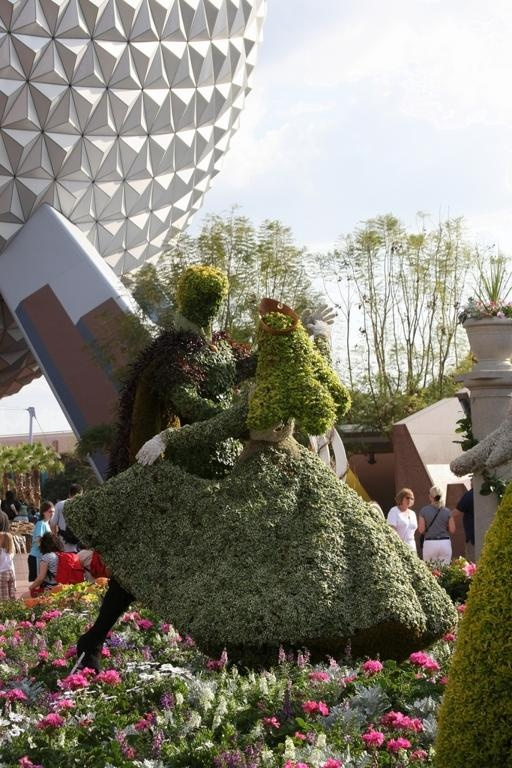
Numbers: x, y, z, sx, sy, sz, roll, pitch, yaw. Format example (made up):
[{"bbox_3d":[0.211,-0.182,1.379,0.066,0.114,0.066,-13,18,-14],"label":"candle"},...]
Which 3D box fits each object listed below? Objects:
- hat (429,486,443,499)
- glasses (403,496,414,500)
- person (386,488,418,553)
[{"bbox_3d":[1.641,1.005,7.204,0.103,0.110,0.123,6,24,4],"label":"hat"},{"bbox_3d":[1.392,1.028,7.118,0.075,0.036,0.087,1,-16,-6],"label":"glasses"},{"bbox_3d":[1.325,1.274,7.095,0.251,0.657,1.200,-3,1,11],"label":"person"}]
